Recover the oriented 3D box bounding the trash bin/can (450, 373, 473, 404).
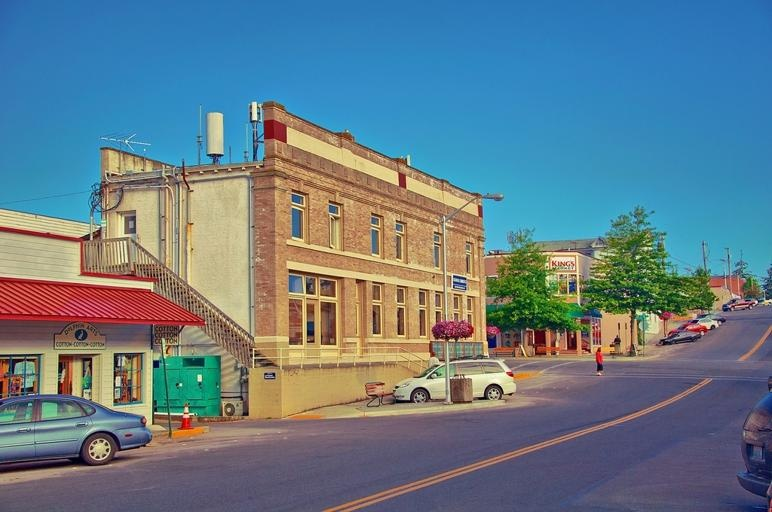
[{"bbox_3d":[3.461,5.834,45.722,1.161,1.437,1.098,-2,-6,10],"label":"trash bin/can"}]

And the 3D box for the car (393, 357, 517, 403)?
[{"bbox_3d":[3.194,5.644,47.571,5.505,1.511,2.117,1,-8,-7],"label":"car"}]
